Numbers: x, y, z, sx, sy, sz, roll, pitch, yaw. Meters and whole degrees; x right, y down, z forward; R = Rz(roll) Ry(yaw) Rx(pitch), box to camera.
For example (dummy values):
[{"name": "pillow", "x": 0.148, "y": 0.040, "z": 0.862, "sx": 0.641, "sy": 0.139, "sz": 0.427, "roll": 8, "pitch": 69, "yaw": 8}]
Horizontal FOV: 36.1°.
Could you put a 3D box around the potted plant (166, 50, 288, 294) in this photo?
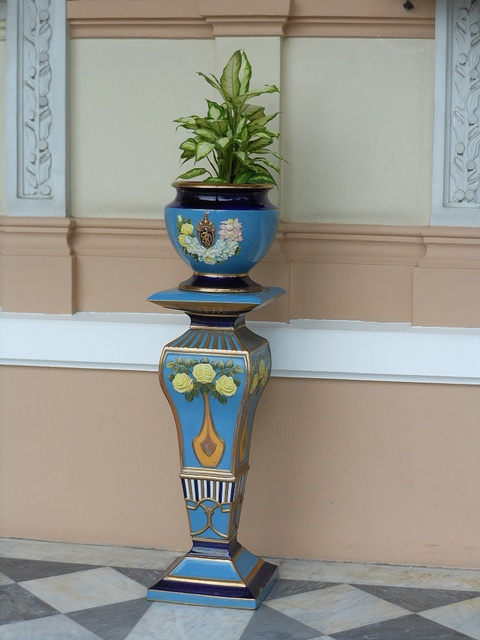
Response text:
[{"name": "potted plant", "x": -0.042, "y": -0.445, "z": 2.155, "sx": 0.329, "sy": 0.701, "sz": 0.532, "roll": 2, "pitch": 7, "yaw": 2}]

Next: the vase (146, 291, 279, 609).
[{"name": "vase", "x": -0.061, "y": 0.358, "z": 2.133, "sx": 0.343, "sy": 0.907, "sz": 0.292, "roll": 3, "pitch": 7, "yaw": 9}]
